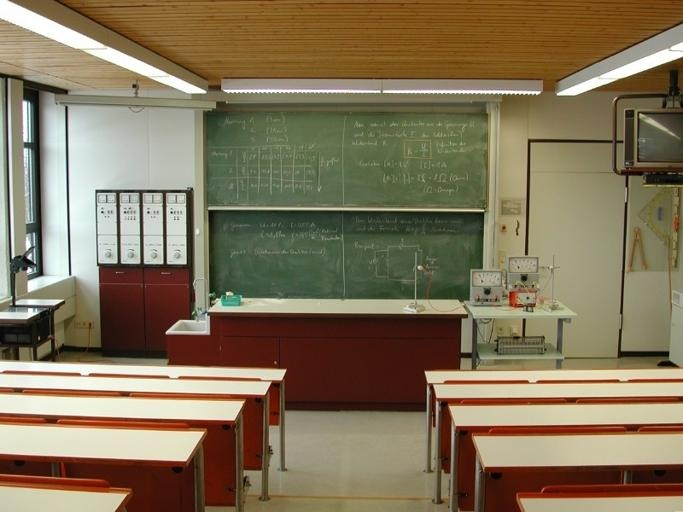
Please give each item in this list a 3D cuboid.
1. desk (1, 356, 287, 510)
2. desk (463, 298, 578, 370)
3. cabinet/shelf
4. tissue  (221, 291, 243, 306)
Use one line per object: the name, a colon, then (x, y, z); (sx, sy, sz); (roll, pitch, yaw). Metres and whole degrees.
desk: (-1.473, 1.376, 5.190); (1.986, 0.950, 0.849); (0, 6, 8)
desk: (1.788, 0.558, 6.856); (1.084, 0.796, 0.862); (0, 6, 1)
cabinet/shelf: (-2.244, 0.626, 7.677); (1.089, 1.042, 0.418); (0, 0, 1)
tissue : (-1.131, 0.435, 6.696); (0.231, 0.118, 0.235); (-1, 6, -2)
